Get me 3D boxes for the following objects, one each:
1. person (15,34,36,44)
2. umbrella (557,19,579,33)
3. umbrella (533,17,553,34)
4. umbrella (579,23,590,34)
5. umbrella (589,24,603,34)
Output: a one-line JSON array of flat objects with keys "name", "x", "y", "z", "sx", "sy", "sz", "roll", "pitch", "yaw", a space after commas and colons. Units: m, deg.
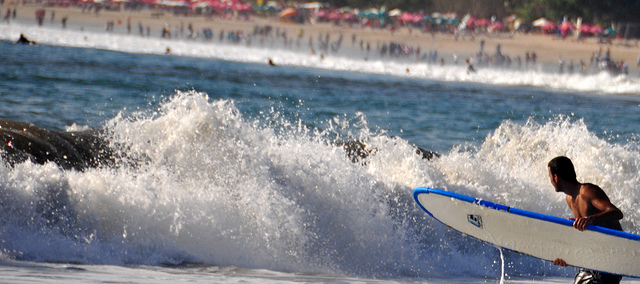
[{"name": "person", "x": -36.258, "y": -12.163, "z": 169.208, "sx": 1.696, "sy": 0.632, "sz": 1.098, "roll": 26, "pitch": 21, "yaw": -17}, {"name": "umbrella", "x": 34.311, "y": -15.298, "z": 188.206, "sx": 2.137, "sy": 0.870, "sz": 1.996, "roll": -15, "pitch": 34, "yaw": -34}, {"name": "umbrella", "x": 31.127, "y": -16.024, "z": 190.344, "sx": 2.455, "sy": 1.370, "sz": 2.305, "roll": 2, "pitch": 4, "yaw": 2}, {"name": "umbrella", "x": 36.461, "y": -15.177, "z": 188.111, "sx": 1.389, "sy": 1.383, "sz": 4.162, "roll": 7, "pitch": 9, "yaw": 10}, {"name": "umbrella", "x": 37.948, "y": -15.142, "z": 187.042, "sx": 1.860, "sy": 0.650, "sz": 1.769, "roll": -12, "pitch": 20, "yaw": -35}]
